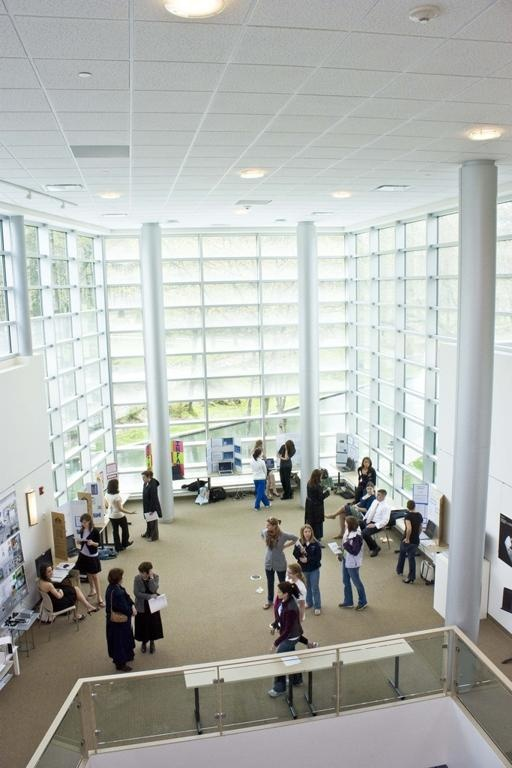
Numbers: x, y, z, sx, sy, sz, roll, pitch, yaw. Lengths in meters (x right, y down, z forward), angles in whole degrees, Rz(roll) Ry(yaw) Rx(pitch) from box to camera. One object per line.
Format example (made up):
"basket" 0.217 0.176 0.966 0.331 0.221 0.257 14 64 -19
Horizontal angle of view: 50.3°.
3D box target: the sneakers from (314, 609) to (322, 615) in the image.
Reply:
"sneakers" 0.982 3.660 8.757 0.085 0.070 0.173 -1 3 2

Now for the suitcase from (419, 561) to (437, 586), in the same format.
"suitcase" 3.076 3.394 9.833 0.299 0.341 0.336 -4 17 -10

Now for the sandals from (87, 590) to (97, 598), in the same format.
"sandals" -2.860 3.655 9.482 0.216 0.088 0.078 6 2 43

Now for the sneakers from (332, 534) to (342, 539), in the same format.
"sneakers" 1.753 3.271 11.696 0.085 0.105 0.253 7 -8 -34

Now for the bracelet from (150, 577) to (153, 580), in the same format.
"bracelet" -1.405 2.594 7.285 0.035 0.009 0.035 1 3 10

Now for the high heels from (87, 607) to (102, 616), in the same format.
"high heels" -2.703 3.769 9.067 0.249 0.101 0.080 -23 -2 21

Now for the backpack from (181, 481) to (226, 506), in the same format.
"backpack" -1.288 2.813 14.361 0.800 0.304 0.630 -3 20 -15

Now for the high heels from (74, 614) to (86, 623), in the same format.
"high heels" -2.838 3.772 8.786 0.072 0.100 0.221 3 8 13

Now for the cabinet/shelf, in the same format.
"cabinet/shelf" 3.439 3.102 8.756 0.596 1.057 0.816 5 -16 21

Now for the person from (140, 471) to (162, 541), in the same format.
"person" -2.315 2.628 11.977 0.367 1.581 0.609 -3 7 -13

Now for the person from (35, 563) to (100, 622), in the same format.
"person" -2.999 3.357 8.723 0.870 1.087 0.446 -4 -3 -36

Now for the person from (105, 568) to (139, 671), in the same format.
"person" -1.827 3.159 7.310 0.372 1.519 0.486 -4 7 -16

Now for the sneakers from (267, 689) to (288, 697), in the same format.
"sneakers" 0.191 3.084 5.477 0.144 0.054 0.092 2 -1 -25

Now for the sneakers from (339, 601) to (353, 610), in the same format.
"sneakers" 1.466 3.639 8.938 0.221 0.171 0.089 9 6 10

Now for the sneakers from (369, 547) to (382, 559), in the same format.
"sneakers" 2.375 3.398 10.963 0.089 0.115 0.272 -13 -14 33

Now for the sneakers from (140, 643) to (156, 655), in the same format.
"sneakers" -1.559 3.788 7.857 0.145 0.074 0.197 -2 19 -8
